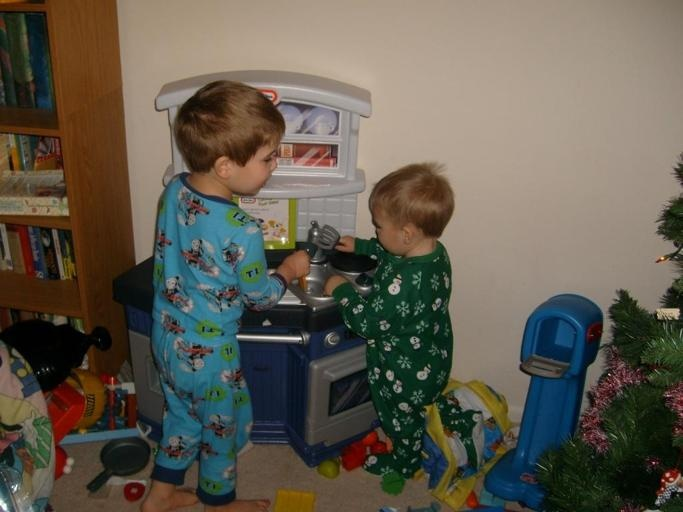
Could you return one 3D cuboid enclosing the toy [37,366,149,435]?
[{"bbox_3d":[-0.936,0.505,2.155,0.293,0.196,0.278,-21,-16,3],"label":"toy"}]

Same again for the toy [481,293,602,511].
[{"bbox_3d":[0.721,0.539,2.067,0.404,0.761,0.230,-10,17,-37],"label":"toy"}]

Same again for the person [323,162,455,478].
[{"bbox_3d":[0.177,0.271,2.017,0.469,1.174,0.220,1,14,-1],"label":"person"}]

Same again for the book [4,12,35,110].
[{"bbox_3d":[-1.150,-0.694,2.035,0.073,0.308,0.098,-6,15,-26],"label":"book"}]
